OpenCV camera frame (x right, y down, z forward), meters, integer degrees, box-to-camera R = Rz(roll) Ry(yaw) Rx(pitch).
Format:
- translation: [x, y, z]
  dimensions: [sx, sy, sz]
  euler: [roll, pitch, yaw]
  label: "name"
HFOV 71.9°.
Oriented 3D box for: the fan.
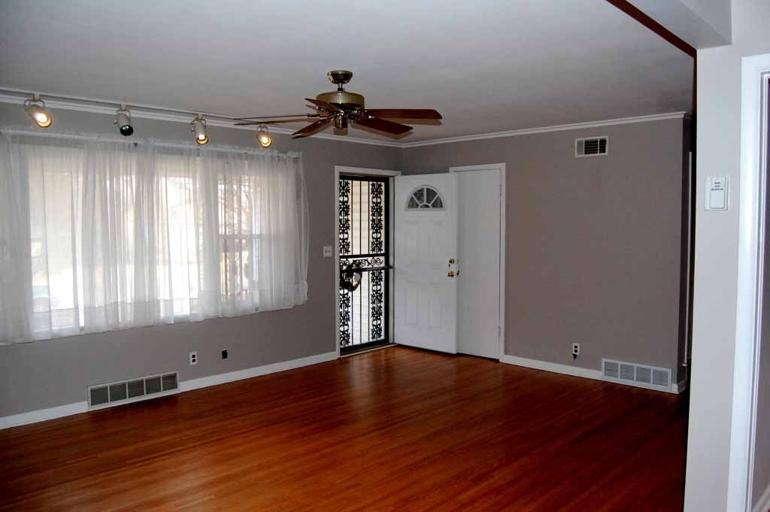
- translation: [-0.105, -1.160, 4.386]
  dimensions: [1.193, 0.314, 1.164]
  euler: [-5, 11, -24]
  label: "fan"
